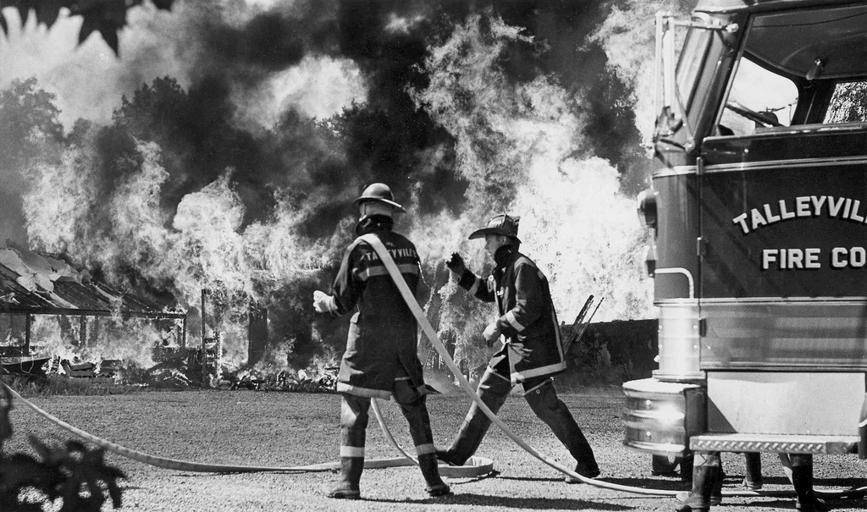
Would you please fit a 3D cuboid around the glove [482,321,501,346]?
[{"bbox_3d":[0.719,0.947,10.657,0.118,0.296,0.217,31,5,-16],"label":"glove"}]

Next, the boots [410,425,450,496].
[{"bbox_3d":[-0.045,2.252,10.084,0.451,0.767,0.419,0,-5,1],"label":"boots"}]

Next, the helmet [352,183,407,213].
[{"bbox_3d":[-0.635,-0.668,10.405,0.569,0.319,0.572,3,-4,3],"label":"helmet"}]

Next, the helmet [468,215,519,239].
[{"bbox_3d":[0.733,-0.321,10.932,0.479,0.250,0.329,-6,-4,0],"label":"helmet"}]

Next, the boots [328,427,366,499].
[{"bbox_3d":[-0.969,2.232,9.873,0.373,0.758,0.214,0,-5,-1],"label":"boots"}]

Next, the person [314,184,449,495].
[{"bbox_3d":[-0.627,0.901,10.113,1.267,3.454,0.408,0,-5,-5],"label":"person"}]
